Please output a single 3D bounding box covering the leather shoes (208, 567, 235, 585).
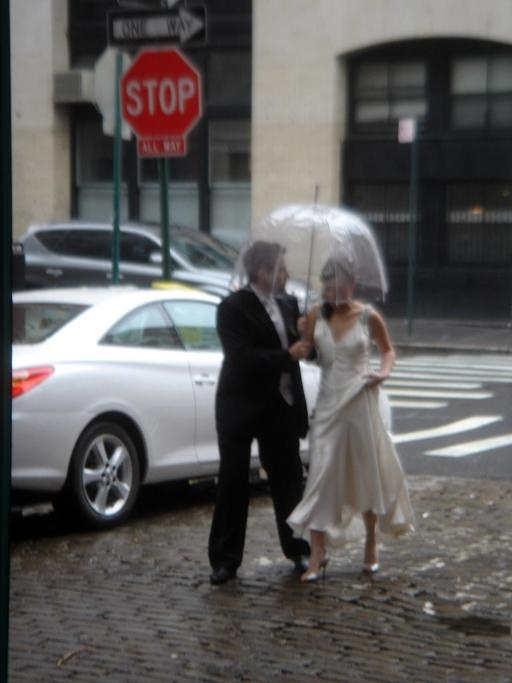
[{"bbox_3d":[-0.158,1.119,4.841,0.048,0.082,0.152,-1,4,27],"label":"leather shoes"}]

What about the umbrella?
[{"bbox_3d":[0.327,-0.364,4.942,0.476,0.709,0.590,3,0,-2],"label":"umbrella"}]

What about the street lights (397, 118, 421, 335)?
[{"bbox_3d":[3.038,-2.514,19.216,0.494,5.226,0.672,0,0,3],"label":"street lights"}]

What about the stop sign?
[{"bbox_3d":[-0.646,-1.591,6.775,0.534,0.930,0.091,-1,-30,-9],"label":"stop sign"}]

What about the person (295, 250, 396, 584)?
[{"bbox_3d":[0.446,0.378,4.890,0.559,1.574,0.379,0,3,7],"label":"person"}]

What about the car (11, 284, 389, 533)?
[{"bbox_3d":[-0.585,0.362,6.588,2.503,1.235,1.074,-2,0,-43],"label":"car"}]
